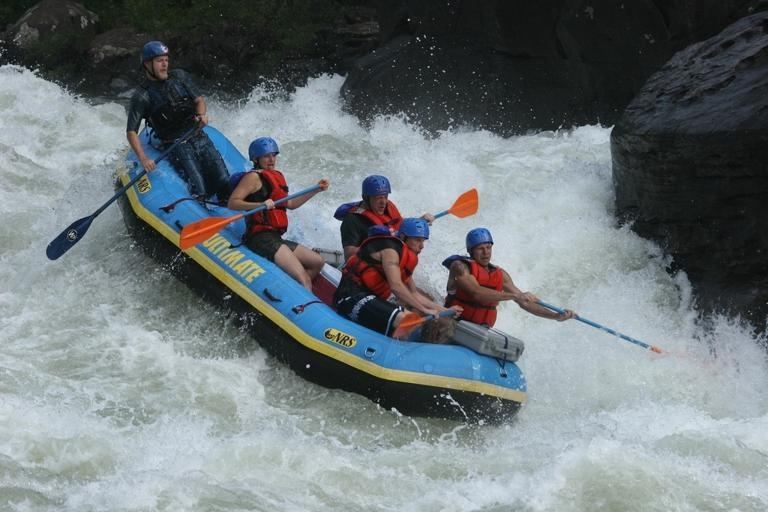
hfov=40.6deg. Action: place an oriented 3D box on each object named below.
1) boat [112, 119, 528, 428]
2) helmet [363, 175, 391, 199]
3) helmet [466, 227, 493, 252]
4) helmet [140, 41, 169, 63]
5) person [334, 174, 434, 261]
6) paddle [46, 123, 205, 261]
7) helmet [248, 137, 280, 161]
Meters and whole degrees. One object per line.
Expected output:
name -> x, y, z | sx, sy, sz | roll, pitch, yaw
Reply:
boat -> -1.018, 0.539, 12.435 | 5.019, 2.318, 1.011 | 37, 105, 23
helmet -> -0.103, -0.834, 12.673 | 0.246, 0.305, 0.237 | -4, 62, -41
helmet -> 1.102, -0.183, 12.352 | 0.239, 0.306, 0.280 | -2, 75, -27
helmet -> -2.928, -2.589, 13.124 | 0.354, 0.263, 0.287 | -17, 104, 8
person -> -0.115, -0.515, 12.735 | 1.120, 0.783, 0.963 | 28, 37, 32
paddle -> -3.208, -0.825, 13.086 | 2.448, 0.264, 0.125 | -41, 42, -15
helmet -> -1.509, -1.331, 12.762 | 0.347, 0.262, 0.269 | -28, 83, 27
